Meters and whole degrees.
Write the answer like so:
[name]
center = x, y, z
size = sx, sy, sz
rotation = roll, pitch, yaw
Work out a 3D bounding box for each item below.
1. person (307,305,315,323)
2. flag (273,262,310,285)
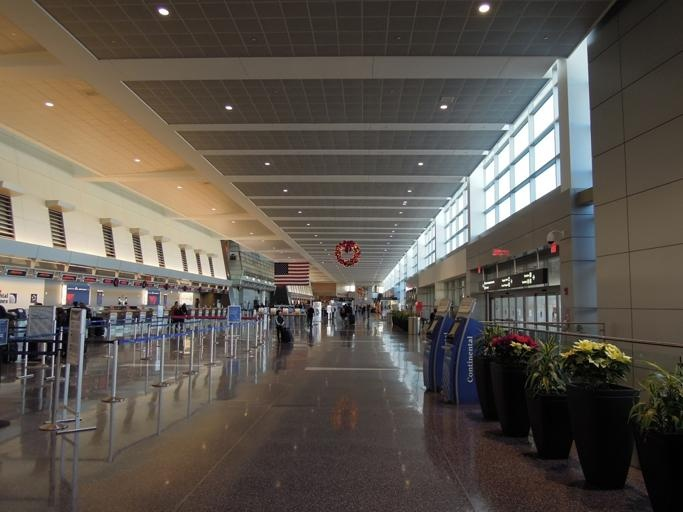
[person]
center = -1.980, 3.731, 26.746
size = 0.249, 1.036, 1.298
rotation = 1, -10, -10
[flag]
center = -5.618, 2.065, 48.211
size = 2.674, 1.892, 0.117
rotation = -1, -6, -5
